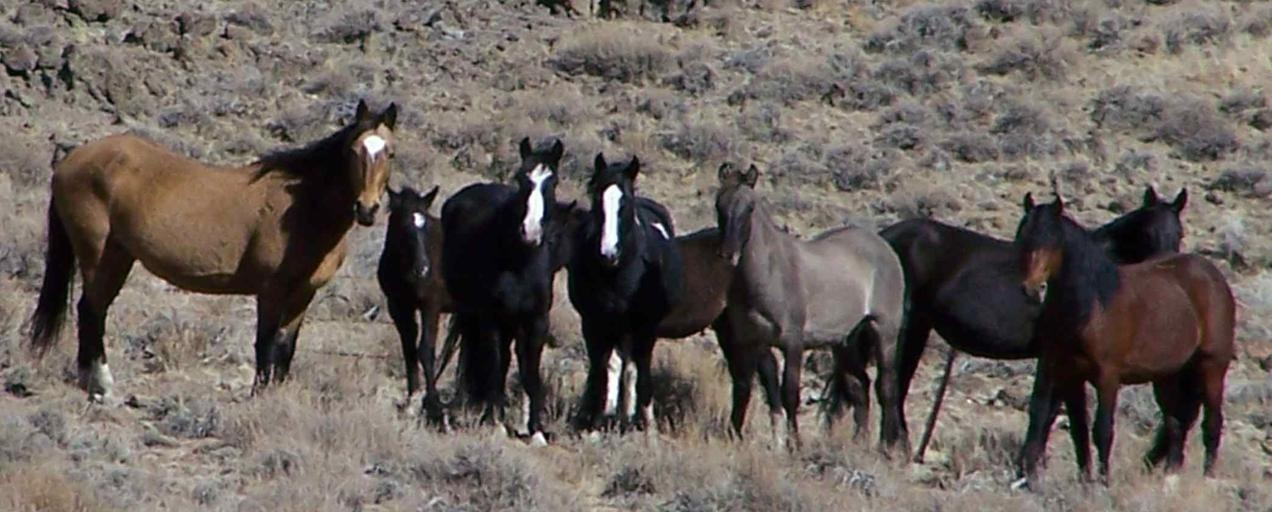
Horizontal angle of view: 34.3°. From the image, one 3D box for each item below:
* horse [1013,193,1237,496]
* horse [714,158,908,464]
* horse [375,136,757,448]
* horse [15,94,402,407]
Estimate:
[{"bbox_3d":[13.131,2.000,55.358,11.947,7.926,3.446,9,-11,-33],"label":"horse"},{"bbox_3d":[4.550,1.625,57.257,3.145,7.327,9.954,3,0,37],"label":"horse"},{"bbox_3d":[-2.770,0.781,55.543,8.468,7.638,2.840,3,19,-6],"label":"horse"},{"bbox_3d":[-11.959,-0.289,57.568,13.574,7.364,2.894,4,28,-4],"label":"horse"}]
